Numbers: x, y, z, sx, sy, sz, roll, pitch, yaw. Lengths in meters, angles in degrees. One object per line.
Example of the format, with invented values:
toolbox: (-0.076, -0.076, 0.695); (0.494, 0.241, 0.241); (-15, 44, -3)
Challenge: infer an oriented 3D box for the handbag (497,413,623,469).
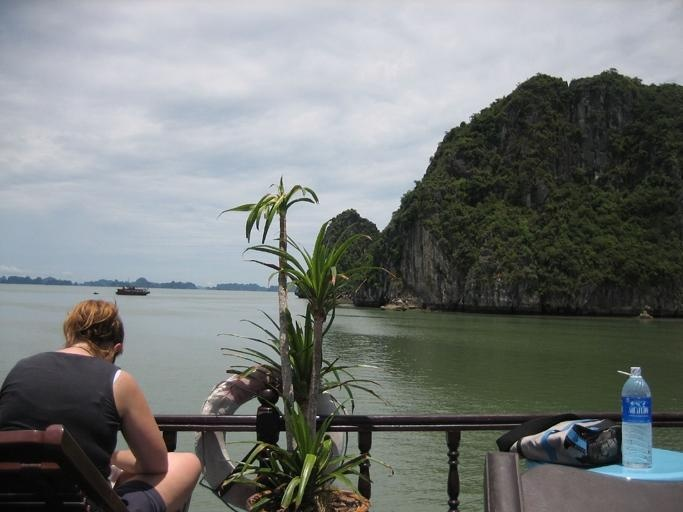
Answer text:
handbag: (1.196, 0.971, 4.044); (0.461, 0.357, 0.361); (2, -2, -17)

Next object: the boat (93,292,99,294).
boat: (-44.188, 6.648, 137.464); (0.849, 0.406, 19.244); (1, -3, -19)
